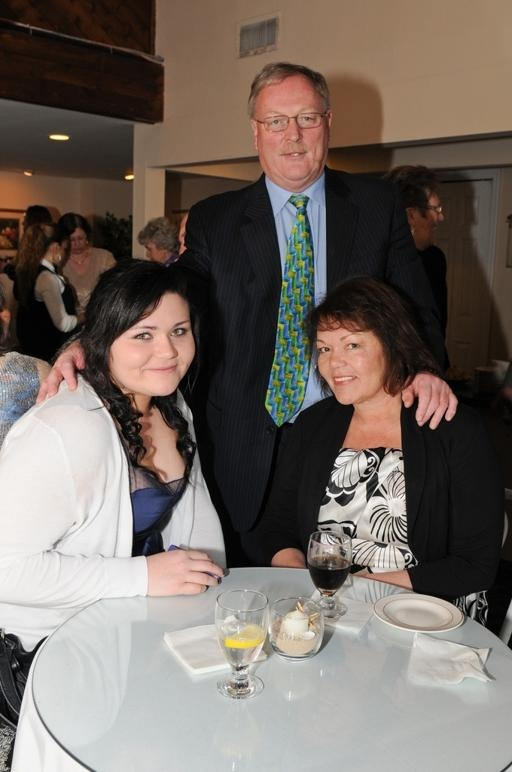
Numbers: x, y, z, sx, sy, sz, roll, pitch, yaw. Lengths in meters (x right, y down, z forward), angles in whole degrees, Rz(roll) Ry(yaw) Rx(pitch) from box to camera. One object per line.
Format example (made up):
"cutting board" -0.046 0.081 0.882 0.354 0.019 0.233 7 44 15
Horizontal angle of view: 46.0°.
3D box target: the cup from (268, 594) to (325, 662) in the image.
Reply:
"cup" 0.070 0.374 0.959 0.087 0.073 0.088 -3 4 0
